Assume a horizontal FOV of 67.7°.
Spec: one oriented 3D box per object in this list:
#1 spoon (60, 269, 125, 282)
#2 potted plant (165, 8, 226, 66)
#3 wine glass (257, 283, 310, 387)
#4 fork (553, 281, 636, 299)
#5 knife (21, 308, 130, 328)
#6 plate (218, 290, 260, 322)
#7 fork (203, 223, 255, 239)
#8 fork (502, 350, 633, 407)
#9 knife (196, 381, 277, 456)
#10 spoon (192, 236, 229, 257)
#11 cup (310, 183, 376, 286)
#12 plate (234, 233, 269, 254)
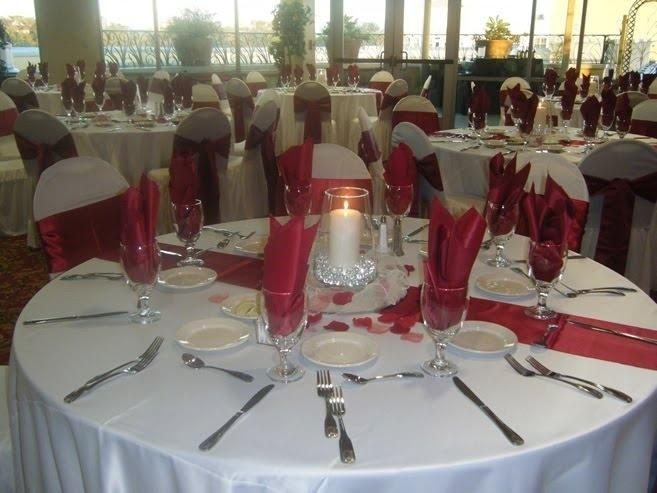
[{"bbox_3d":[-0.768,0.101,1.599,0.150,0.022,0.038,1,21,-3],"label":"spoon"},{"bbox_3d":[-3.243,-5.118,11.891,0.974,1.246,1.132,-1,26,-3],"label":"potted plant"},{"bbox_3d":[-0.103,0.206,1.107,0.109,0.262,0.118,-7,23,-24],"label":"wine glass"},{"bbox_3d":[0.812,0.139,1.500,0.207,0.045,0.034,-2,24,6],"label":"fork"},{"bbox_3d":[-0.703,0.206,1.359,0.219,0.013,0.033,-1,32,-17],"label":"knife"},{"bbox_3d":[-0.248,0.172,1.390,0.092,0.029,0.106,-3,33,-9],"label":"plate"},{"bbox_3d":[-0.398,-0.055,1.972,0.173,0.036,0.033,7,23,25],"label":"fork"},{"bbox_3d":[0.521,0.298,1.142,0.313,0.043,0.086,20,19,39],"label":"fork"},{"bbox_3d":[-0.172,0.314,1.045,0.040,0.019,0.335,17,25,18],"label":"knife"},{"bbox_3d":[-0.437,0.007,1.815,0.122,0.016,0.020,-28,64,5],"label":"spoon"},{"bbox_3d":[0.053,-0.070,1.573,0.230,0.303,0.235,1,17,0],"label":"cup"},{"bbox_3d":[-0.275,-0.006,1.821,0.099,0.017,0.100,-27,37,-26],"label":"plate"}]
